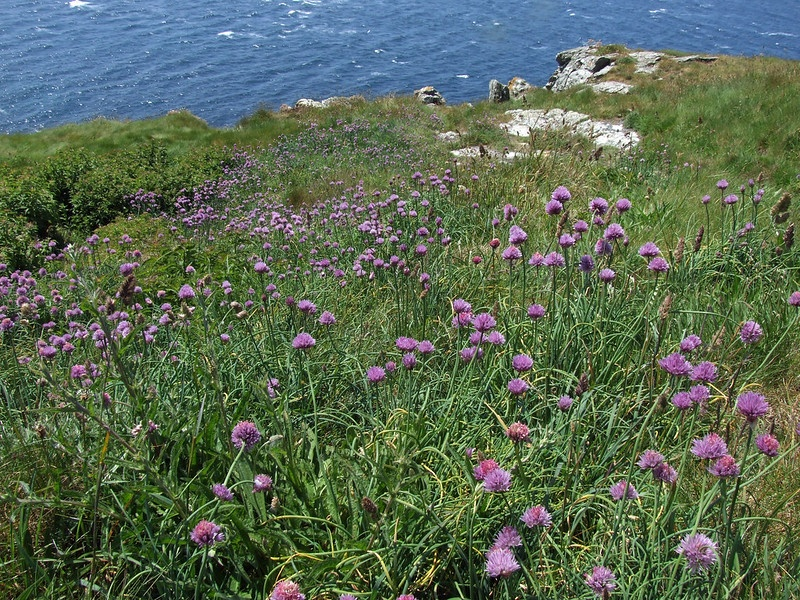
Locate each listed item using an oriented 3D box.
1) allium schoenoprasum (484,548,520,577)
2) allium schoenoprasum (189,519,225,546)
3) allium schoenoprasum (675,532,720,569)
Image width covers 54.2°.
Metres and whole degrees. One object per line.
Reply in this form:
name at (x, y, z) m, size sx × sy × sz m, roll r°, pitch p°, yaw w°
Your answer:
allium schoenoprasum at (0.513, 1.294, 3.930) m, size 0.127 × 0.169 × 0.146 m, roll -9°, pitch -12°, yaw -3°
allium schoenoprasum at (-0.992, 1.204, 4.091) m, size 0.134 × 0.171 × 0.152 m, roll 18°, pitch -10°, yaw 9°
allium schoenoprasum at (1.516, 1.274, 3.970) m, size 0.156 × 0.198 × 0.122 m, roll 14°, pitch -21°, yaw 11°
